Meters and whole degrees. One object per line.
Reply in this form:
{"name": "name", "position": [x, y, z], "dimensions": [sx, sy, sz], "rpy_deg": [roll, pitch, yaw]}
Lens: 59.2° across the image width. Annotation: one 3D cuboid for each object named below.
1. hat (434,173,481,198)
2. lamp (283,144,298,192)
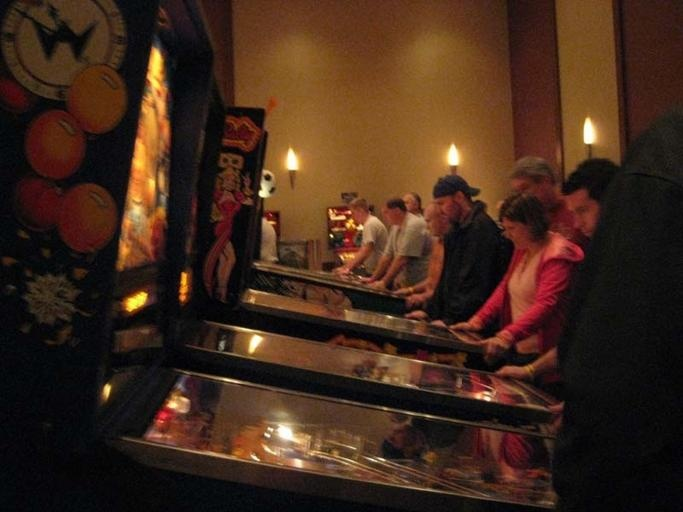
{"name": "hat", "position": [0.479, -0.296, 2.474], "dimensions": [0.161, 0.080, 0.103], "rpy_deg": [1, 11, 2]}
{"name": "lamp", "position": [-0.396, -0.732, 4.741], "dimensions": [0.116, 0.327, 0.328], "rpy_deg": [6, -8, -3]}
